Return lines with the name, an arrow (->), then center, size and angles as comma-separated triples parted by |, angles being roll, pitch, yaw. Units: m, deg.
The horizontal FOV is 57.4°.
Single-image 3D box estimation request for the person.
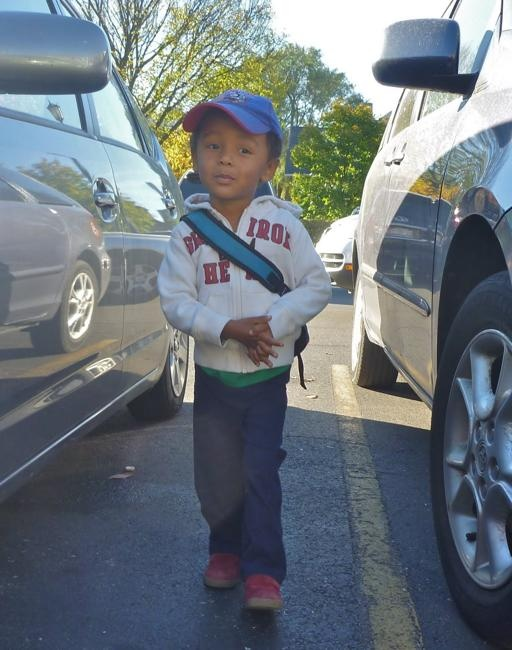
person -> -0.025, 0.046, 1.247 | 0.429, 1.157, 0.329 | 1, -1, 11
